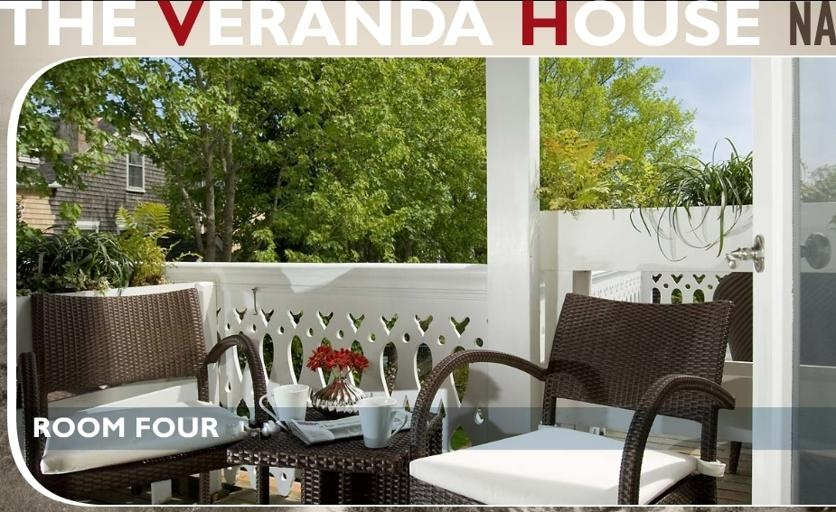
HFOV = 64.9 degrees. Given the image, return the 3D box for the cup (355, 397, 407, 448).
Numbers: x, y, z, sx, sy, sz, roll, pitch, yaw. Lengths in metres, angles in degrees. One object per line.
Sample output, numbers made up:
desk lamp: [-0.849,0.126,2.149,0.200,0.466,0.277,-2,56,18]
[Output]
cup: [-0.147,0.739,3.006,0.136,0.215,0.287,2,3,37]

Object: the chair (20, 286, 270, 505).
chair: [-1.389,0.863,3.339,1.060,1.326,0.839,-2,-2,-36]

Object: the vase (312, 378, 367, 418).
vase: [-0.392,0.660,3.178,0.200,0.111,0.194,-1,-4,29]

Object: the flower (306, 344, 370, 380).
flower: [-0.376,0.502,3.222,0.264,0.194,0.275,4,-3,27]
